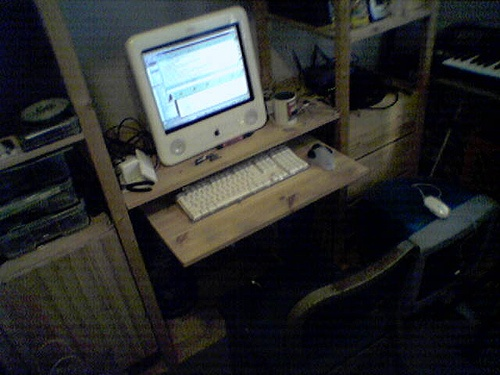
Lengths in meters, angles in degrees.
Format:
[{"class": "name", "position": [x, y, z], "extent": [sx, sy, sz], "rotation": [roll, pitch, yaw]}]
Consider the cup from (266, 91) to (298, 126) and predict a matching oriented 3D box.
[{"class": "cup", "position": [0.182, -0.432, 2.338], "extent": [0.198, 0.146, 0.133], "rotation": [19, 42, 37]}]

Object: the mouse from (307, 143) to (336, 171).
[{"class": "mouse", "position": [0.373, -0.152, 2.254], "extent": [0.104, 0.051, 0.144], "rotation": [-33, 55, -20]}]

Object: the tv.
[{"class": "tv", "position": [-0.268, -0.474, 2.072], "extent": [0.446, 0.480, 0.662], "rotation": [27, 21, -11]}]

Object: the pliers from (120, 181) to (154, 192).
[{"class": "pliers", "position": [-0.536, -0.003, 2.042], "extent": [0.140, 0.032, 0.060], "rotation": [-2, 53, -4]}]

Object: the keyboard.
[{"class": "keyboard", "position": [-0.026, 0.123, 2.371], "extent": [0.823, 0.113, 0.292], "rotation": [-29, 63, -15]}]

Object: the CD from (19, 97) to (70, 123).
[{"class": "CD", "position": [-0.921, -0.345, 1.931], "extent": [0.219, 0.023, 0.117], "rotation": [-18, 54, -10]}]
